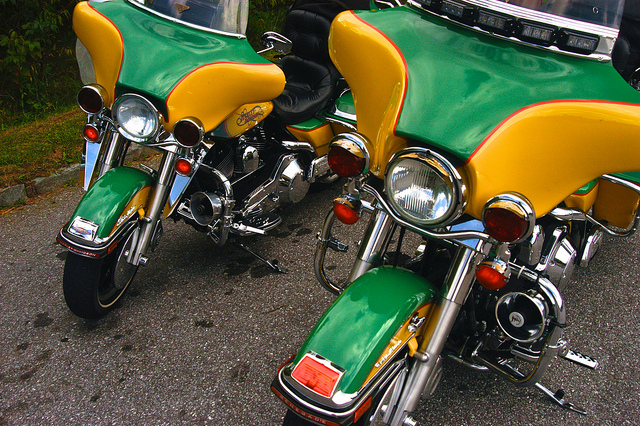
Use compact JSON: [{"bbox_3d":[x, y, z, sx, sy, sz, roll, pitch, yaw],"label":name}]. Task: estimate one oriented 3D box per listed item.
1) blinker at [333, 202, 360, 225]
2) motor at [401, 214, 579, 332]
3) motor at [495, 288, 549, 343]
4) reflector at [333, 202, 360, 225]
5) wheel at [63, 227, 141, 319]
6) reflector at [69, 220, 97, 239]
[{"bbox_3d":[0.168,-0.006,3.260,0.129,0.134,0.031,30,41,13],"label":"blinker"},{"bbox_3d":[0.740,0.427,3.521,0.723,0.691,1.181,8,32,26],"label":"motor"},{"bbox_3d":[1.262,0.623,3.212,0.177,0.334,0.296,-15,6,-36],"label":"motor"},{"bbox_3d":[0.165,0.002,3.239,0.128,0.136,0.029,25,39,20],"label":"reflector"},{"bbox_3d":[-1.652,0.441,3.952,0.512,0.696,0.276,1,25,-27],"label":"wheel"},{"bbox_3d":[-1.703,0.119,3.753,0.161,0.113,0.040,19,-5,8],"label":"reflector"}]
